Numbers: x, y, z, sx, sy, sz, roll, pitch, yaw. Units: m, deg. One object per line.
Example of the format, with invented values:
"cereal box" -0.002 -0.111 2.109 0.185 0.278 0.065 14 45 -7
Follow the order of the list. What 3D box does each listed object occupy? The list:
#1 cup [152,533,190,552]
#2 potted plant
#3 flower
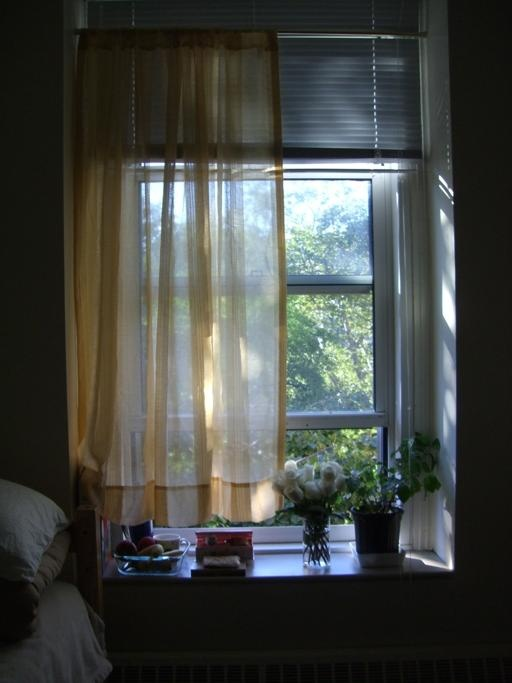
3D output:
"cup" -0.271 0.659 2.370 0.083 0.075 0.056 3 -5 -37
"potted plant" 0.423 0.480 2.441 0.302 0.595 0.322 -1 -2 11
"flower" 0.171 0.550 2.264 0.225 0.348 0.174 -1 -2 8
